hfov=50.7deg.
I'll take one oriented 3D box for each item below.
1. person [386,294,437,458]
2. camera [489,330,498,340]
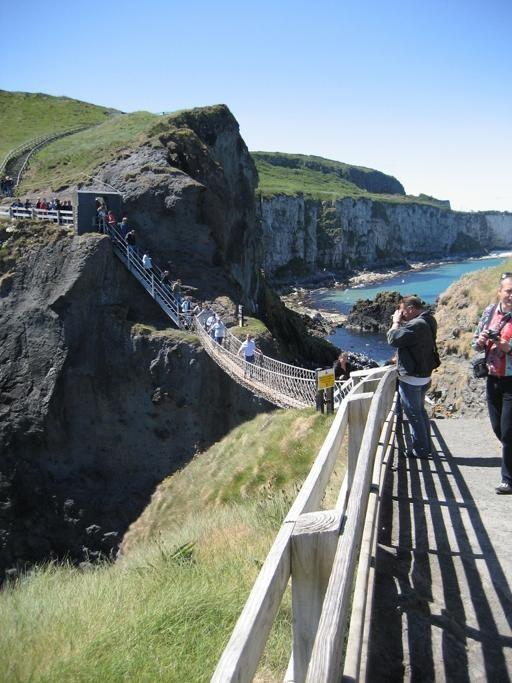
[{"bbox_3d":[1.331,0.296,4.615,0.409,1.352,0.787,1,9,18],"label":"person"},{"bbox_3d":[1.704,-0.044,3.891,0.064,0.053,0.059,-15,-11,30],"label":"camera"}]
